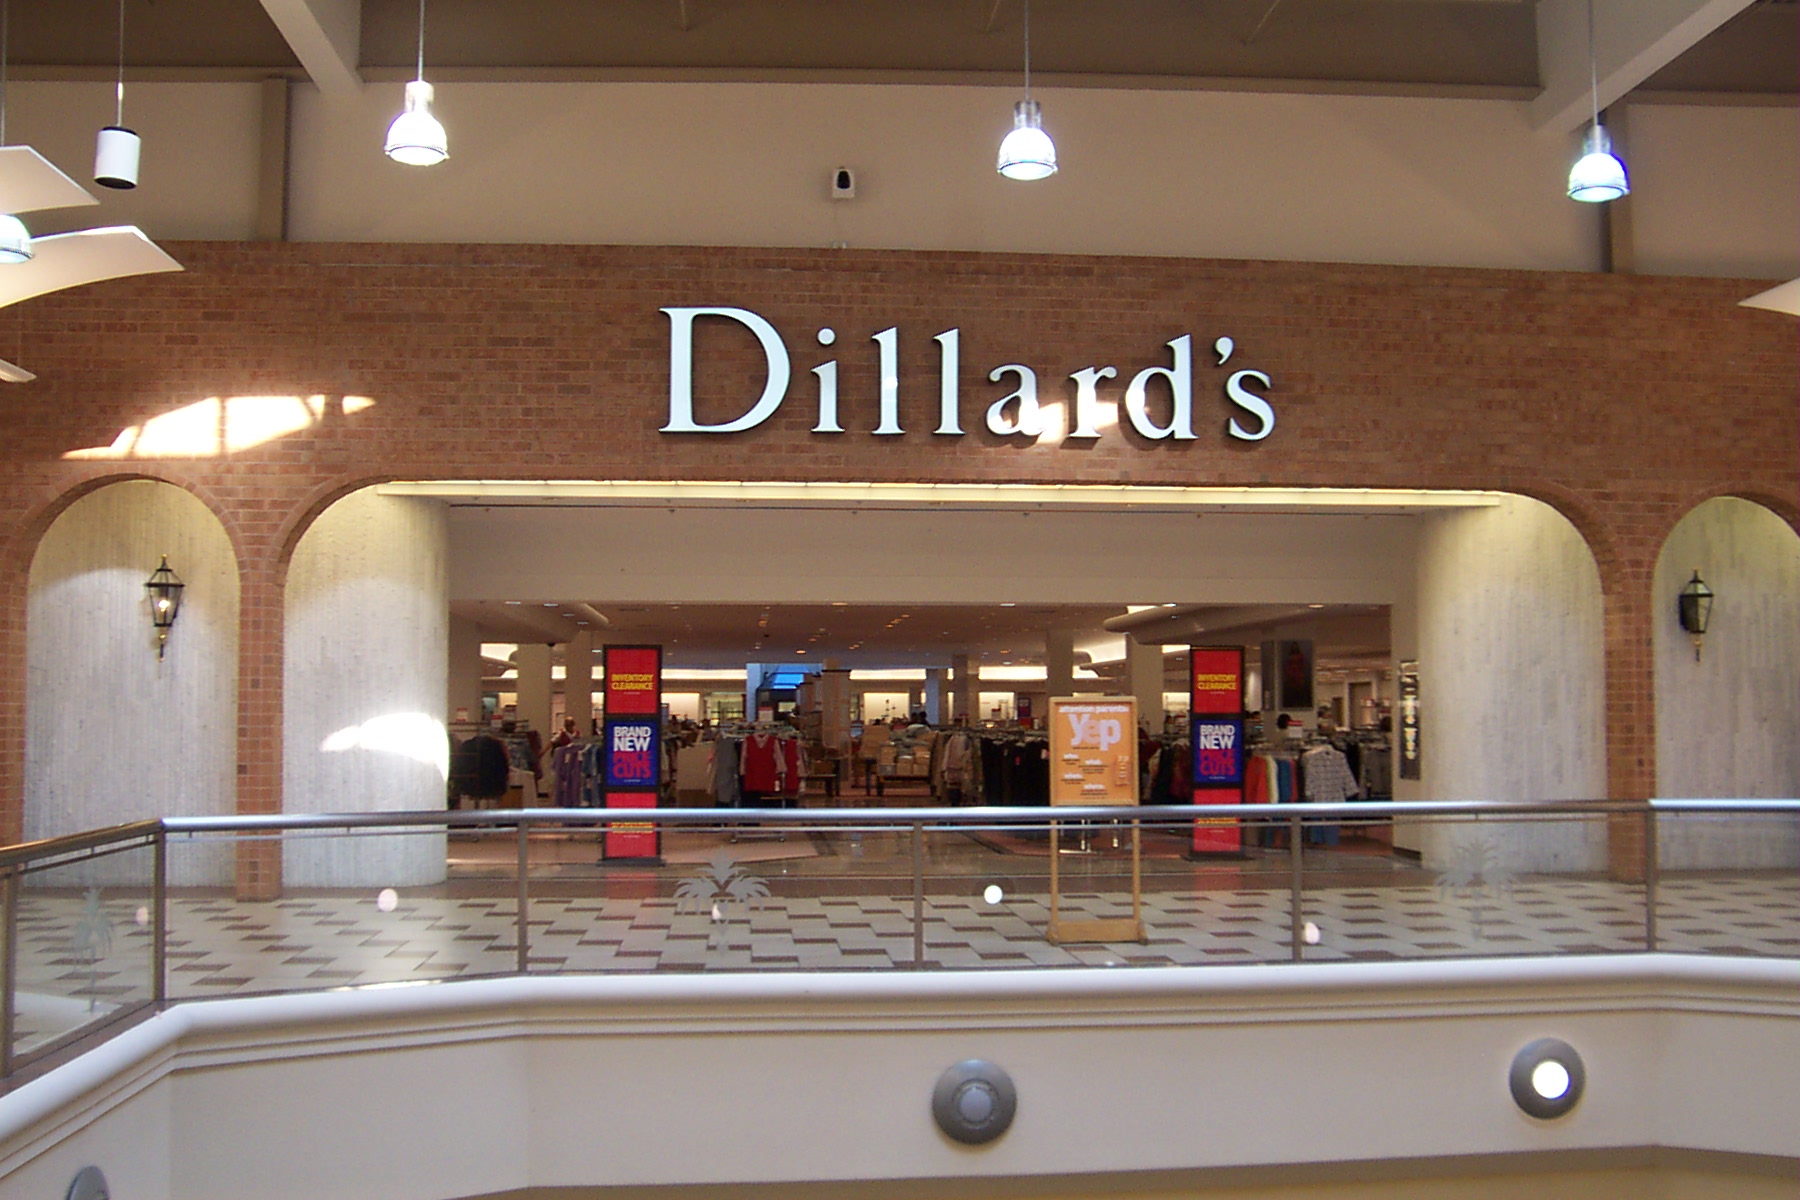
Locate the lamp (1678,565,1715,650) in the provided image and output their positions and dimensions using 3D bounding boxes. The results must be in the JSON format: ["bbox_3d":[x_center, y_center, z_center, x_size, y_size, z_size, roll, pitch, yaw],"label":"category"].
[{"bbox_3d":[8.452,0.134,17.417,0.405,0.815,0.227,0,-2,-18],"label":"lamp"}]

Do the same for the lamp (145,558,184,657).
[{"bbox_3d":[-7.446,0.081,16.618,0.372,0.978,0.214,1,-2,-27],"label":"lamp"}]
